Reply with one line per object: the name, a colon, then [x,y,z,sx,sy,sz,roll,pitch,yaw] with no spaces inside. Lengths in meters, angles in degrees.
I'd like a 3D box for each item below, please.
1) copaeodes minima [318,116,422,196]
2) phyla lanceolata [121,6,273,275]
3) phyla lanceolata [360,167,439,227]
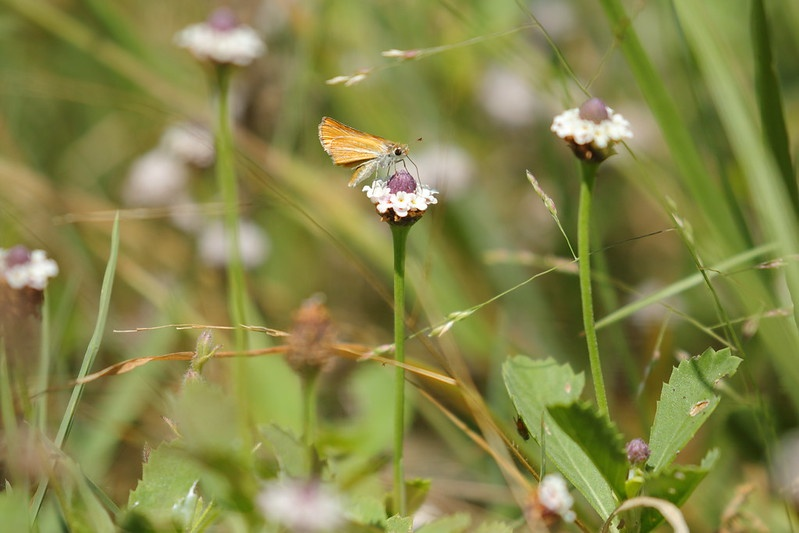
copaeodes minima: [-0.058,-0.257,1.898,0.237,0.143,0.188,-2,-79,-2]
phyla lanceolata: [-0.468,-0.158,1.950,0.200,0.203,0.799,-17,-55,-27]
phyla lanceolata: [0.002,-0.142,1.658,0.137,0.109,0.080,-12,-33,-2]
